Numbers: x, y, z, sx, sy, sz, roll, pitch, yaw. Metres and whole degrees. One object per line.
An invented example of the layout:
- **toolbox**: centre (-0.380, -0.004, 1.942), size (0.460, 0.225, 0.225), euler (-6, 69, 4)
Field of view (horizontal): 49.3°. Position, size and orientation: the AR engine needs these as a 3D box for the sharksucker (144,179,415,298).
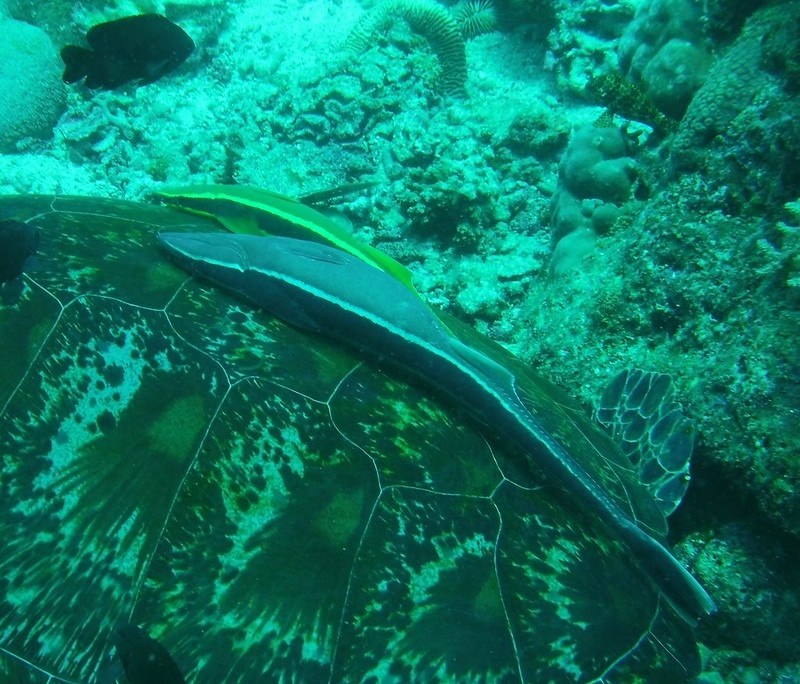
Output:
- **sharksucker**: centre (-0.623, -0.536, 4.581), size (1.172, 0.332, 0.292), euler (25, 76, 8)
